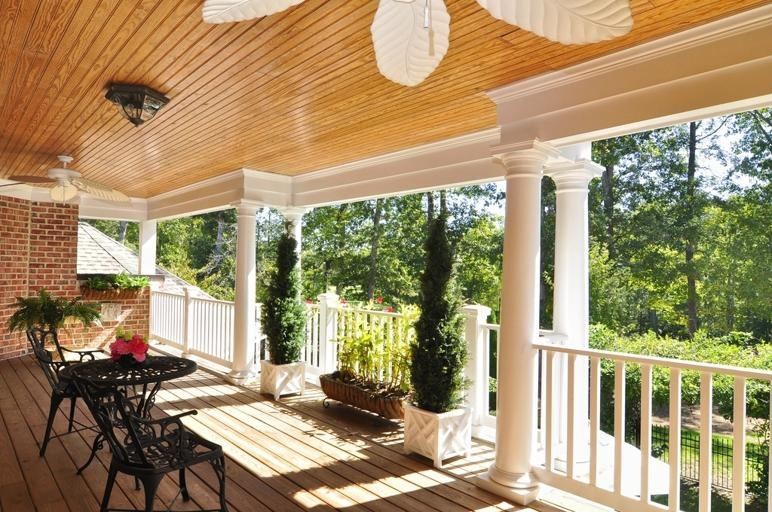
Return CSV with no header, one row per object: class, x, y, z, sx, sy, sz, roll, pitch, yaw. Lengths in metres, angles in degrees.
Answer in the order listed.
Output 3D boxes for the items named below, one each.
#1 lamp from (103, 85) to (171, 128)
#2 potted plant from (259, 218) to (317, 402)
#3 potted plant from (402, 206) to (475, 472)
lamp,-2.597,-1.591,5.985,0.441,0.261,0.488,9,-23,-37
potted plant,-1.546,0.843,8.753,0.554,2.580,0.429,5,-5,-39
potted plant,0.611,0.969,6.790,0.773,2.899,0.414,2,-4,2
